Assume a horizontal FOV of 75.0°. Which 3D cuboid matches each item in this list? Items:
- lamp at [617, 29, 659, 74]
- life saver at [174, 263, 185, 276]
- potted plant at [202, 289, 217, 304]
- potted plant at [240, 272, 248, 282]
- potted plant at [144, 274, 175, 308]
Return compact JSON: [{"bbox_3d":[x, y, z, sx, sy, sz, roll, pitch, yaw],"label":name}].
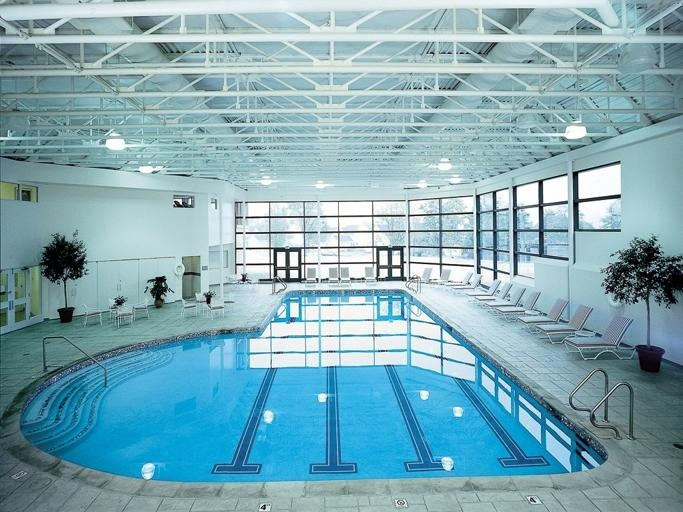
[{"bbox_3d":[4.901,-3.418,7.507,0.577,0.638,0.786,1,4,7],"label":"lamp"},{"bbox_3d":[-7.107,0.577,19.625,0.207,0.446,0.549,-4,-17,37],"label":"life saver"},{"bbox_3d":[-5.272,1.670,18.020,0.686,0.500,0.584,2,11,0],"label":"potted plant"},{"bbox_3d":[-5.473,1.225,25.523,0.327,0.487,0.523,-3,10,-9],"label":"potted plant"},{"bbox_3d":[-7.913,1.474,18.874,1.426,1.119,1.304,0,-4,-5],"label":"potted plant"}]
